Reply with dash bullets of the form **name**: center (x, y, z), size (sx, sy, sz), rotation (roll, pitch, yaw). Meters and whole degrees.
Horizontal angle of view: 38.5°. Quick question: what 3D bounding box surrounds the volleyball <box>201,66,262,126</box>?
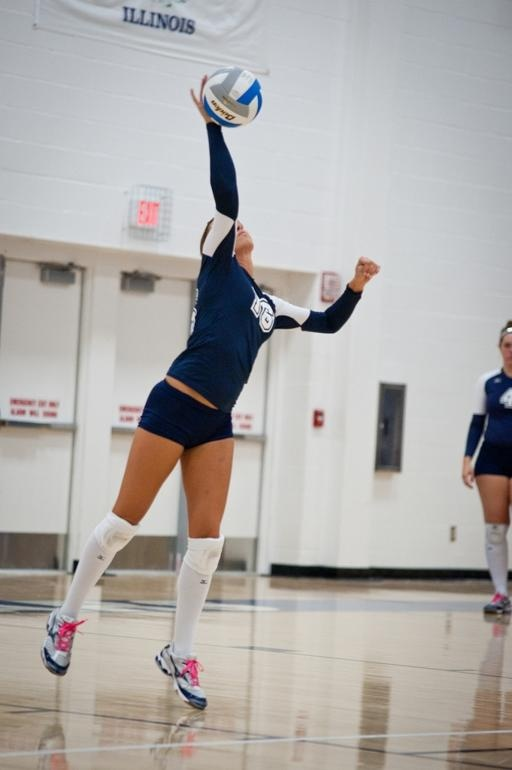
- **volleyball**: center (-0.069, -0.743, 1.892), size (0.152, 0.156, 0.113), rotation (7, 0, 3)
